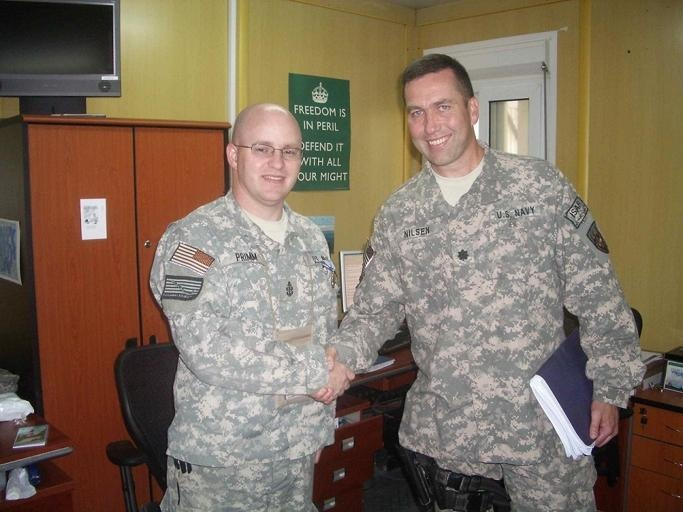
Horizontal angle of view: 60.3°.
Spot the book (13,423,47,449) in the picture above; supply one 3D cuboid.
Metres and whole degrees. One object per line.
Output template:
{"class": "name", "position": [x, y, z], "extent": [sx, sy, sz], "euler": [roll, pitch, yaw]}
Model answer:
{"class": "book", "position": [-1.291, 0.750, 2.457], "extent": [0.140, 0.019, 0.175], "euler": [-2, 11, -25]}

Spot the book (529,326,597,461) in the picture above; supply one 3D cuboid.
{"class": "book", "position": [0.799, 0.469, 2.021], "extent": [0.086, 0.372, 0.364], "euler": [-23, 8, 48]}
